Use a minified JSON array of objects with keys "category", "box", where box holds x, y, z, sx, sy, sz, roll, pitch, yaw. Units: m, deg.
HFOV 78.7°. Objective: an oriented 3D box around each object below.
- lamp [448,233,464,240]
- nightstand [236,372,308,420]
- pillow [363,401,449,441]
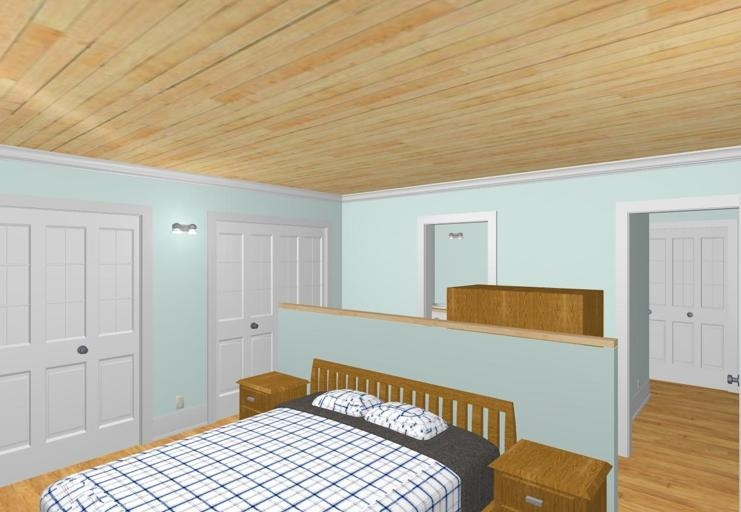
[{"category":"lamp","box":[1.527,-0.354,8.146,0.294,0.138,0.123,3,9,30]},{"category":"nightstand","box":[-1.014,1.517,4.726,0.584,0.380,0.525,-1,3,36]},{"category":"pillow","box":[0.258,1.342,3.659,0.298,0.072,0.408,2,-3,-43]}]
